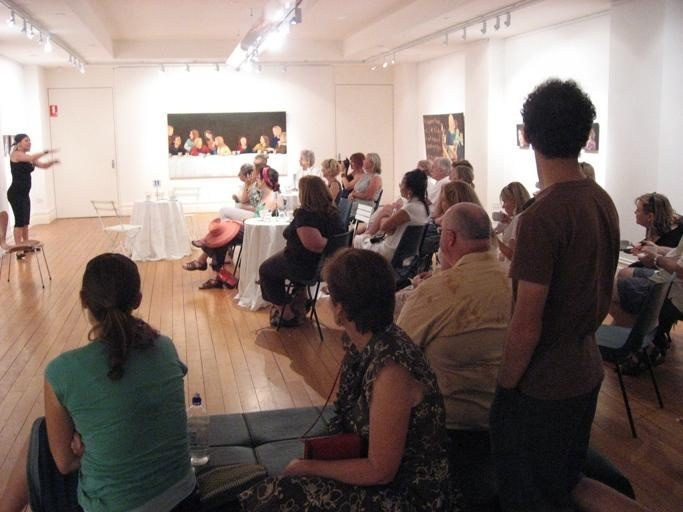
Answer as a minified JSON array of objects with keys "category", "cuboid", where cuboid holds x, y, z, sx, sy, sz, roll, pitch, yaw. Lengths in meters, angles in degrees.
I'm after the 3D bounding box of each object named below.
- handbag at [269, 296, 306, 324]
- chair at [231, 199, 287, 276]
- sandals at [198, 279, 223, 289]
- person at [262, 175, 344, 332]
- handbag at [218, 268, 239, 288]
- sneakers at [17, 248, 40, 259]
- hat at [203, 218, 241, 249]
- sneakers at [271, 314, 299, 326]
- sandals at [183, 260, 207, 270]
[{"category":"handbag","cuboid":[-0.603,0.607,5.627,0.419,0.472,0.217,3,-1,-21]},{"category":"chair","cuboid":[-1.011,-0.074,6.329,0.621,0.896,0.696,-1,15,-8]},{"category":"sandals","cuboid":[-1.788,0.367,6.984,0.253,0.116,0.139,2,-1,-22]},{"category":"person","cuboid":[-0.477,-0.055,5.312,0.805,1.606,0.687,4,14,6]},{"category":"handbag","cuboid":[-1.586,0.335,7.034,0.181,0.117,0.316,-1,44,-44]},{"category":"sneakers","cuboid":[-5.079,-0.043,8.210,0.272,0.124,0.100,-6,12,9]},{"category":"hat","cuboid":[-1.644,-0.284,6.890,0.389,0.151,0.418,-8,49,15]},{"category":"sneakers","cuboid":[-0.628,0.711,5.510,0.224,0.086,0.133,6,1,-2]},{"category":"sandals","cuboid":[-2.187,0.140,7.559,0.301,0.152,0.162,2,2,-5]}]
